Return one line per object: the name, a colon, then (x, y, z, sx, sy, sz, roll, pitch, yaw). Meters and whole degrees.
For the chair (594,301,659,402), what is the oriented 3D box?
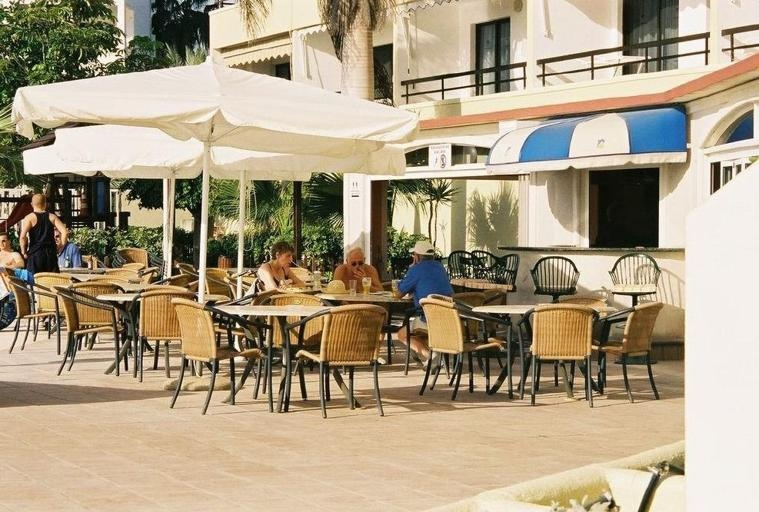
chair: (3.434, 1.248, 15.759, 0.795, 1.321, 0.873, 8, 12, 36)

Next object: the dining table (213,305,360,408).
dining table: (-1.206, 1.191, 14.953, 1.397, 0.925, 1.428, 18, -9, -10)

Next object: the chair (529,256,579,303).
chair: (3.058, 0.483, 20.321, 0.866, 1.126, 0.732, 0, 16, 1)

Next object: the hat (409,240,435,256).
hat: (0.666, -0.106, 17.015, 0.259, 0.197, 0.384, 1, 0, -28)

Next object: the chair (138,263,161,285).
chair: (-3.930, 0.321, 20.245, 0.397, 0.404, 0.344, 7, 2, 15)

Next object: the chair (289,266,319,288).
chair: (-1.352, 0.354, 20.942, 0.508, 0.487, 0.390, 0, -2, -14)

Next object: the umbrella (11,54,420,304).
umbrella: (-2.565, -1.310, 17.078, 5.078, 3.102, 5.411, -2, 10, -16)

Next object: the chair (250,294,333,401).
chair: (-1.200, 1.194, 15.913, 1.414, 1.731, 1.181, 2, -7, -24)

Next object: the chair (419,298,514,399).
chair: (1.309, 1.156, 15.870, 0.790, 1.084, 0.771, 3, -1, -13)

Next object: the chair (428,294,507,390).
chair: (1.055, 1.200, 15.726, 0.745, 1.073, 0.714, 6, -3, 23)

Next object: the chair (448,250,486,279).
chair: (1.860, 0.174, 23.949, 0.587, 0.801, 0.607, -7, 11, -38)

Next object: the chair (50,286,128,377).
chair: (-4.160, 0.975, 16.958, 0.871, 1.201, 0.859, -10, 5, -36)

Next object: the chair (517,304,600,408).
chair: (2.431, 1.216, 15.464, 0.925, 1.398, 1.016, 3, 13, 16)

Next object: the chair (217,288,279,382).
chair: (-1.713, 1.069, 15.740, 1.190, 1.159, 0.844, -2, 7, -27)

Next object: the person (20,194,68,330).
person: (-5.725, -0.054, 20.168, 0.743, 2.008, 0.604, -4, 15, -25)

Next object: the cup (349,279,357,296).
cup: (-0.395, 0.440, 17.137, 0.164, 0.262, 0.165, 0, -1, 0)

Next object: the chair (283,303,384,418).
chair: (-0.380, 1.230, 15.051, 1.370, 1.751, 1.316, 0, 2, -32)
